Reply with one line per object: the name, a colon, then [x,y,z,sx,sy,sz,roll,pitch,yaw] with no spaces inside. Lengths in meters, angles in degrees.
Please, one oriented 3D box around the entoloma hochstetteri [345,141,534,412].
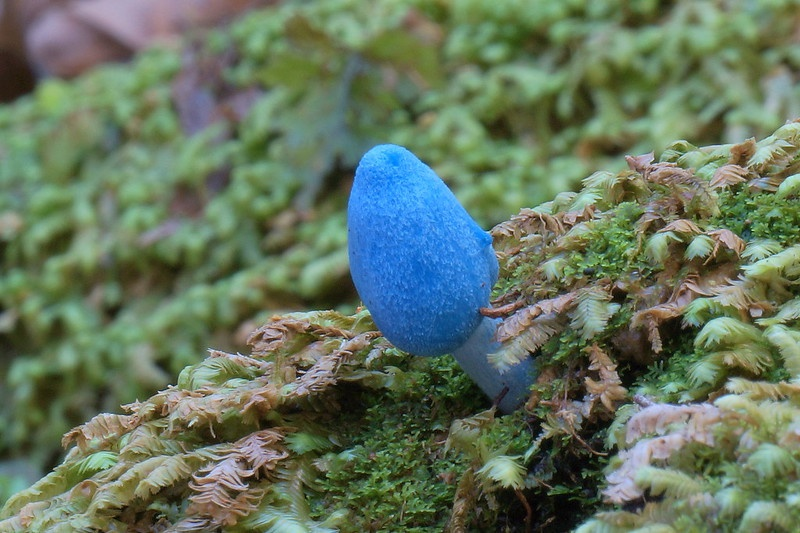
entoloma hochstetteri: [0.047,-0.048,3.161,0.335,0.584,0.373,-2,35,36]
